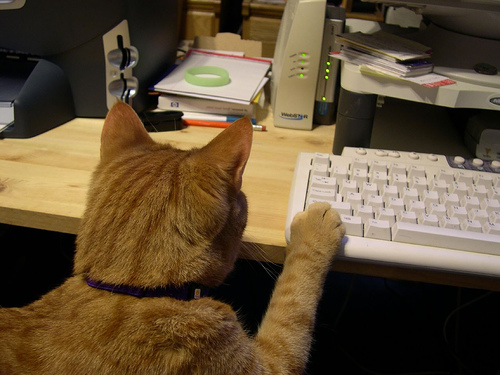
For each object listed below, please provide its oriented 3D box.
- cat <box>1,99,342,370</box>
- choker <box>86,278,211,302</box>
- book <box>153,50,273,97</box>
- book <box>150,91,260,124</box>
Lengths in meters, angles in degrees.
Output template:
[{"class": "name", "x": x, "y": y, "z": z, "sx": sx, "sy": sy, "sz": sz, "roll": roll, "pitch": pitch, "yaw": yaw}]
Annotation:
[{"class": "cat", "x": -0.117, "y": 0.098, "z": 0.872, "sx": 0.417, "sy": 0.459, "sz": 0.635, "roll": 18, "pitch": 30, "yaw": 39}, {"class": "choker", "x": -0.185, "y": 0.185, "z": 0.749, "sx": 0.220, "sy": 0.045, "sz": 0.042, "roll": 3, "pitch": 25, "yaw": -5}, {"class": "book", "x": -0.106, "y": -0.320, "z": 1.193, "sx": 0.197, "sy": 0.029, "sz": 0.222, "roll": 6, "pitch": 37, "yaw": 11}, {"class": "book", "x": -0.115, "y": -0.217, "z": 1.084, "sx": 0.190, "sy": 0.044, "sz": 0.175, "roll": 5, "pitch": 19, "yaw": 3}]
